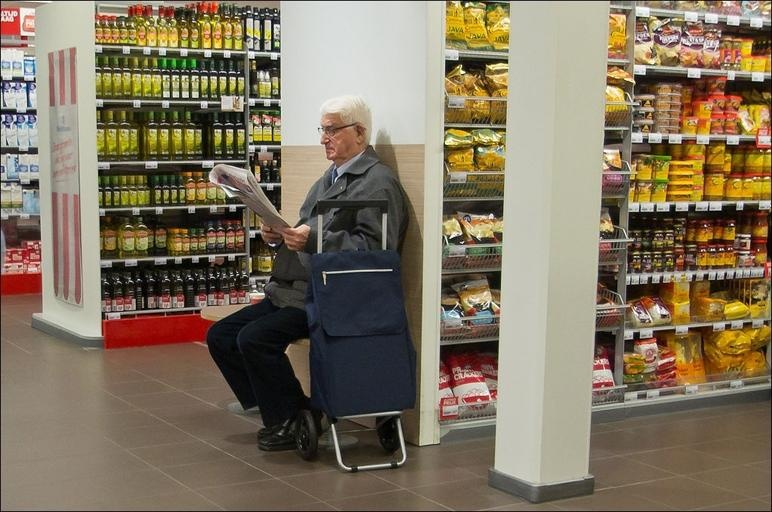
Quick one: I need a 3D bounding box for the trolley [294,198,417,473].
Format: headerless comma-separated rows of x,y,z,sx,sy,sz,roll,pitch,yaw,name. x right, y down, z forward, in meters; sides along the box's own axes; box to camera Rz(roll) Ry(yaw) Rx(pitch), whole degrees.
-0.186,0.498,4.163,0.776,1.683,0.470,0,8,-8,trolley

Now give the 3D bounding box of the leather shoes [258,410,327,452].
-0.578,1.165,4.335,0.529,0.217,0.214,-5,23,-16,leather shoes
